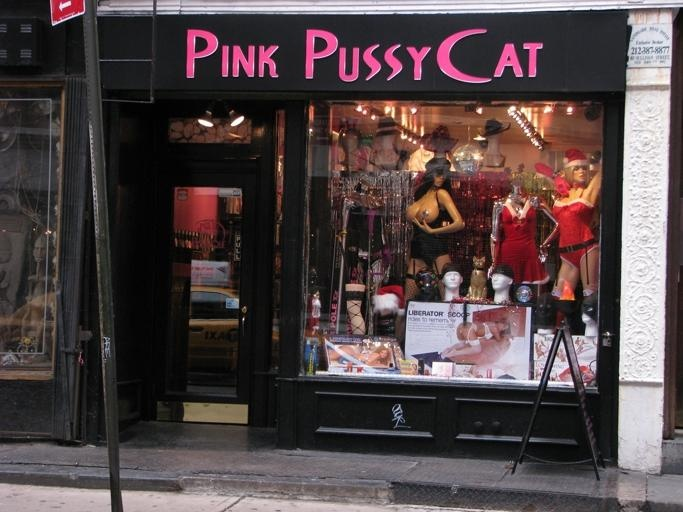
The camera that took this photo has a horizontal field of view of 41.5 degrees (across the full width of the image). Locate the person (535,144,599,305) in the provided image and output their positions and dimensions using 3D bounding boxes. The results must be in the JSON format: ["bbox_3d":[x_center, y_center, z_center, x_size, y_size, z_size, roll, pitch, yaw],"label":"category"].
[{"bbox_3d":[2.342,-0.333,9.421,0.579,1.546,0.232,2,3,14],"label":"person"}]

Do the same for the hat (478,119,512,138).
[{"bbox_3d":[1.616,-1.348,9.595,0.281,0.187,0.059,2,3,24],"label":"hat"}]

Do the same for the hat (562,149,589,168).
[{"bbox_3d":[2.413,-1.021,9.438,0.210,0.186,0.159,2,7,44],"label":"hat"}]

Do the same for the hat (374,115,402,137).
[{"bbox_3d":[0.482,-1.380,9.653,0.198,0.213,0.138,0,12,3],"label":"hat"}]

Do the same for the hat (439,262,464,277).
[{"bbox_3d":[1.159,0.140,9.612,0.135,0.191,0.097,1,1,-1],"label":"hat"}]

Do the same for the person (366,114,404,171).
[{"bbox_3d":[0.476,-1.184,9.763,0.459,0.873,0.475,0,2,4],"label":"person"}]

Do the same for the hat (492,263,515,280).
[{"bbox_3d":[1.696,0.163,9.596,0.161,0.194,0.150,-6,19,-20],"label":"hat"}]

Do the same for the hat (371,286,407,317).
[{"bbox_3d":[0.499,0.493,9.720,0.283,0.338,0.116,1,-7,13],"label":"hat"}]

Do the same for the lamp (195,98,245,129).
[{"bbox_3d":[-1.321,-1.654,10.563,0.616,0.479,0.234,2,2,5],"label":"lamp"}]

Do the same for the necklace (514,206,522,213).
[{"bbox_3d":[1.857,-0.487,9.599,0.050,0.040,0.051,-8,12,-30],"label":"necklace"}]
